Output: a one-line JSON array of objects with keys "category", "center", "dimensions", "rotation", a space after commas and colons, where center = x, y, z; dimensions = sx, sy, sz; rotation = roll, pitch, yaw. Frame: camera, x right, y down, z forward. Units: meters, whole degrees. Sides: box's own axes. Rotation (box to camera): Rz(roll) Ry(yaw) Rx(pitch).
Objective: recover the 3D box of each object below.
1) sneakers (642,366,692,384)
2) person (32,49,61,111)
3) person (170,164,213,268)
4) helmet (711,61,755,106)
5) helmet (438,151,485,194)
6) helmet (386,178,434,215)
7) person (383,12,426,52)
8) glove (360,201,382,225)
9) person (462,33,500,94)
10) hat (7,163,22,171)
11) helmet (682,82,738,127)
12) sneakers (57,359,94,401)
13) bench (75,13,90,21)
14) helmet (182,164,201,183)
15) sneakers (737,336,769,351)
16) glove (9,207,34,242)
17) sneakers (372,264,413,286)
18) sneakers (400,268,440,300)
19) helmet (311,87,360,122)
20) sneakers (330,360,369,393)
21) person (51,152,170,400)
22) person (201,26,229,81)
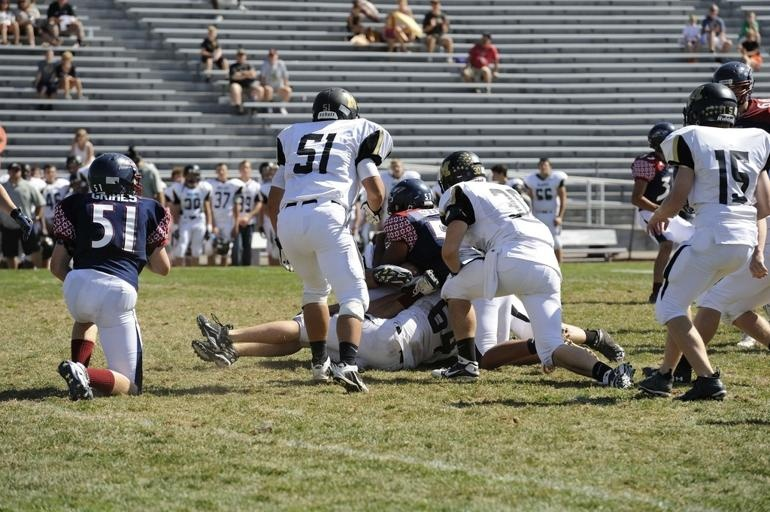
[{"category": "sneakers", "center": [3.499, 1.459, 16.667], "dimensions": [0.646, 0.257, 0.226], "rotation": [8, -4, -3]}, {"category": "person", "center": [-7.441, -4.014, 29.605], "dimensions": [0.496, 1.073, 0.395], "rotation": [1, 1, 16]}, {"category": "person", "center": [-3.548, -0.843, 25.114], "dimensions": [0.781, 1.697, 0.425], "rotation": [-1, 2, -43]}, {"category": "helmet", "center": [4.438, -2.223, 17.177], "dimensions": [0.477, 0.472, 0.596], "rotation": [-16, 1, 22]}, {"category": "helmet", "center": [0.992, -1.090, 17.151], "dimensions": [0.576, 0.522, 0.465], "rotation": [2, 8, 44]}, {"category": "helmet", "center": [0.314, -0.785, 17.614], "dimensions": [0.554, 0.435, 0.409], "rotation": [9, -2, 14]}, {"category": "person", "center": [0.468, -5.473, 32.340], "dimensions": [0.894, 0.985, 0.702], "rotation": [0, 1, -6]}, {"category": "glove", "center": [-0.124, -0.520, 17.171], "dimensions": [0.131, 0.231, 0.315], "rotation": [-31, 14, -17]}, {"category": "person", "center": [2.334, -4.634, 31.936], "dimensions": [0.798, 1.316, 0.906], "rotation": [-17, 34, -42]}, {"category": "hat", "center": [-6.598, -1.609, 24.112], "dimensions": [0.342, 0.161, 0.538], "rotation": [-3, -1, -16]}, {"category": "helmet", "center": [3.977, -1.841, 16.328], "dimensions": [0.488, 0.495, 0.617], "rotation": [0, 15, -29]}, {"category": "sneakers", "center": [-3.656, 1.509, 16.151], "dimensions": [0.266, 0.594, 0.294], "rotation": [-18, 4, 8]}, {"category": "bench", "center": [-7.042, -5.618, 31.324], "dimensions": [0.282, 0.066, 0.252], "rotation": [6, 41, -10]}, {"category": "helmet", "center": [-3.563, -1.547, 25.073], "dimensions": [0.315, 0.368, 0.387], "rotation": [1, 9, -4]}, {"category": "sneakers", "center": [4.769, 1.147, 17.346], "dimensions": [0.211, 0.121, 0.277], "rotation": [3, 10, 24]}, {"category": "glove", "center": [-5.539, -0.500, 20.521], "dimensions": [0.205, 0.482, 0.489], "rotation": [-30, -38, 2]}, {"category": "sneakers", "center": [0.104, 0.254, 16.988], "dimensions": [0.503, 0.224, 0.232], "rotation": [6, -9, -2]}, {"category": "sneakers", "center": [0.486, 0.382, 17.090], "dimensions": [0.247, 0.253, 0.562], "rotation": [39, -18, -14]}, {"category": "helmet", "center": [-0.582, -1.946, 16.848], "dimensions": [0.390, 0.388, 0.509], "rotation": [1, 21, 21]}, {"category": "sneakers", "center": [-0.412, 1.546, 16.483], "dimensions": [0.596, 0.266, 0.233], "rotation": [37, -20, -17]}, {"category": "person", "center": [-3.342, 0.244, 16.357], "dimensions": [1.381, 2.991, 0.463], "rotation": [0, 1, -16]}, {"category": "person", "center": [-3.877, -4.681, 30.708], "dimensions": [0.637, 1.175, 1.632], "rotation": [0, 1, -8]}]
